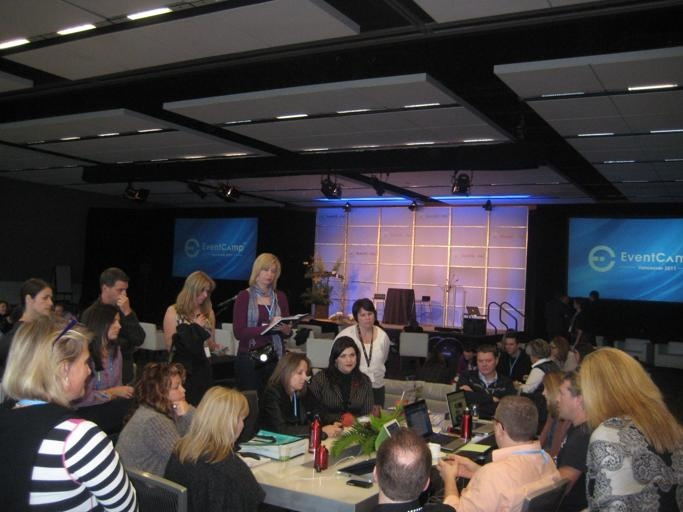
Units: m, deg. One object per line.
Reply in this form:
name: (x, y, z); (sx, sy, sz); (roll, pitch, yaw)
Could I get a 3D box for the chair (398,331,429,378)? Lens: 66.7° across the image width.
chair: (1.465, 2.048, 10.690); (0.582, 0.911, 2.315); (3, -4, 7)

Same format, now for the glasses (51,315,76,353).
glasses: (-1.153, 0.333, 2.160); (0.021, 0.087, 0.052); (43, -10, -15)

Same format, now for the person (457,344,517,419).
person: (1.514, 1.374, 5.443); (0.639, 0.865, 0.500); (0, 1, 19)

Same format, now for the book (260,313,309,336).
book: (-0.503, 0.584, 4.390); (0.341, 0.215, 0.444); (4, -4, -9)

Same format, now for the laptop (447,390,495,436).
laptop: (1.163, 1.379, 4.744); (0.374, 0.325, 0.547); (-3, -6, 31)

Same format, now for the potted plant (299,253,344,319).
potted plant: (-0.762, 0.867, 15.098); (1.635, 2.098, 1.619); (0, 3, -4)

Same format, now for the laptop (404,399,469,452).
laptop: (0.715, 1.305, 4.035); (0.405, 0.334, 0.466); (7, -8, 27)
